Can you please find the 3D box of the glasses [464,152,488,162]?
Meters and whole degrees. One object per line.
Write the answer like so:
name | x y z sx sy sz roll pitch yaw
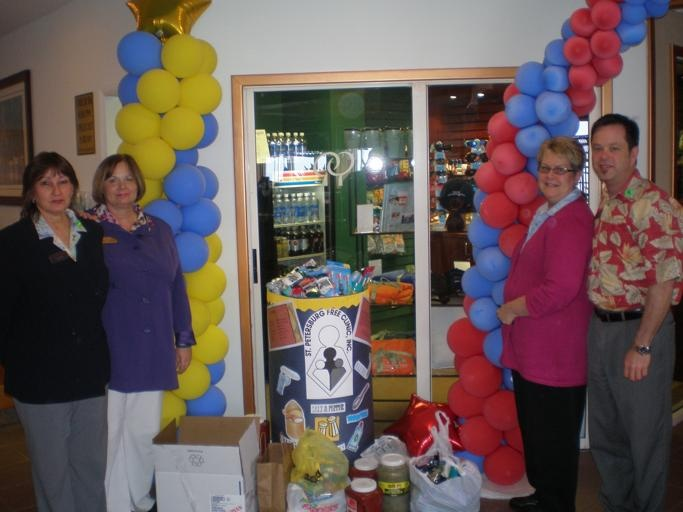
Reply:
glasses | 0.966 -0.705 4.469 0.117 0.053 0.072 -2 -1 5

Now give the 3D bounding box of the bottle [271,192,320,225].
bottle | -0.328 -0.352 4.582 0.330 0.231 0.061 -3 6 -1

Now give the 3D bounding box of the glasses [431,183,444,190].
glasses | 0.677 -0.495 4.461 0.054 0.052 0.014 1 2 -5

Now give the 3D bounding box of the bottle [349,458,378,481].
bottle | 0.136 1.236 3.676 0.120 0.124 0.125 1 1 29

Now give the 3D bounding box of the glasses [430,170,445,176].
glasses | 0.686 -0.588 4.455 0.113 0.049 0.035 -1 11 -8

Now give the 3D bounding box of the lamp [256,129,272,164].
lamp | -0.576 -0.787 4.513 0.098 0.243 0.029 -3 5 -3

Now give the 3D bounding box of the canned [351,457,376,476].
canned | 0.132 1.234 3.653 0.107 0.112 0.112 1 0 30

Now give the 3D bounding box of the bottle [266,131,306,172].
bottle | -0.401 -0.744 4.541 0.268 0.296 0.043 -4 6 -11

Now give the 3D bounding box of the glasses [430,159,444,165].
glasses | 0.686 -0.670 4.451 0.109 0.033 0.017 -5 6 -16
